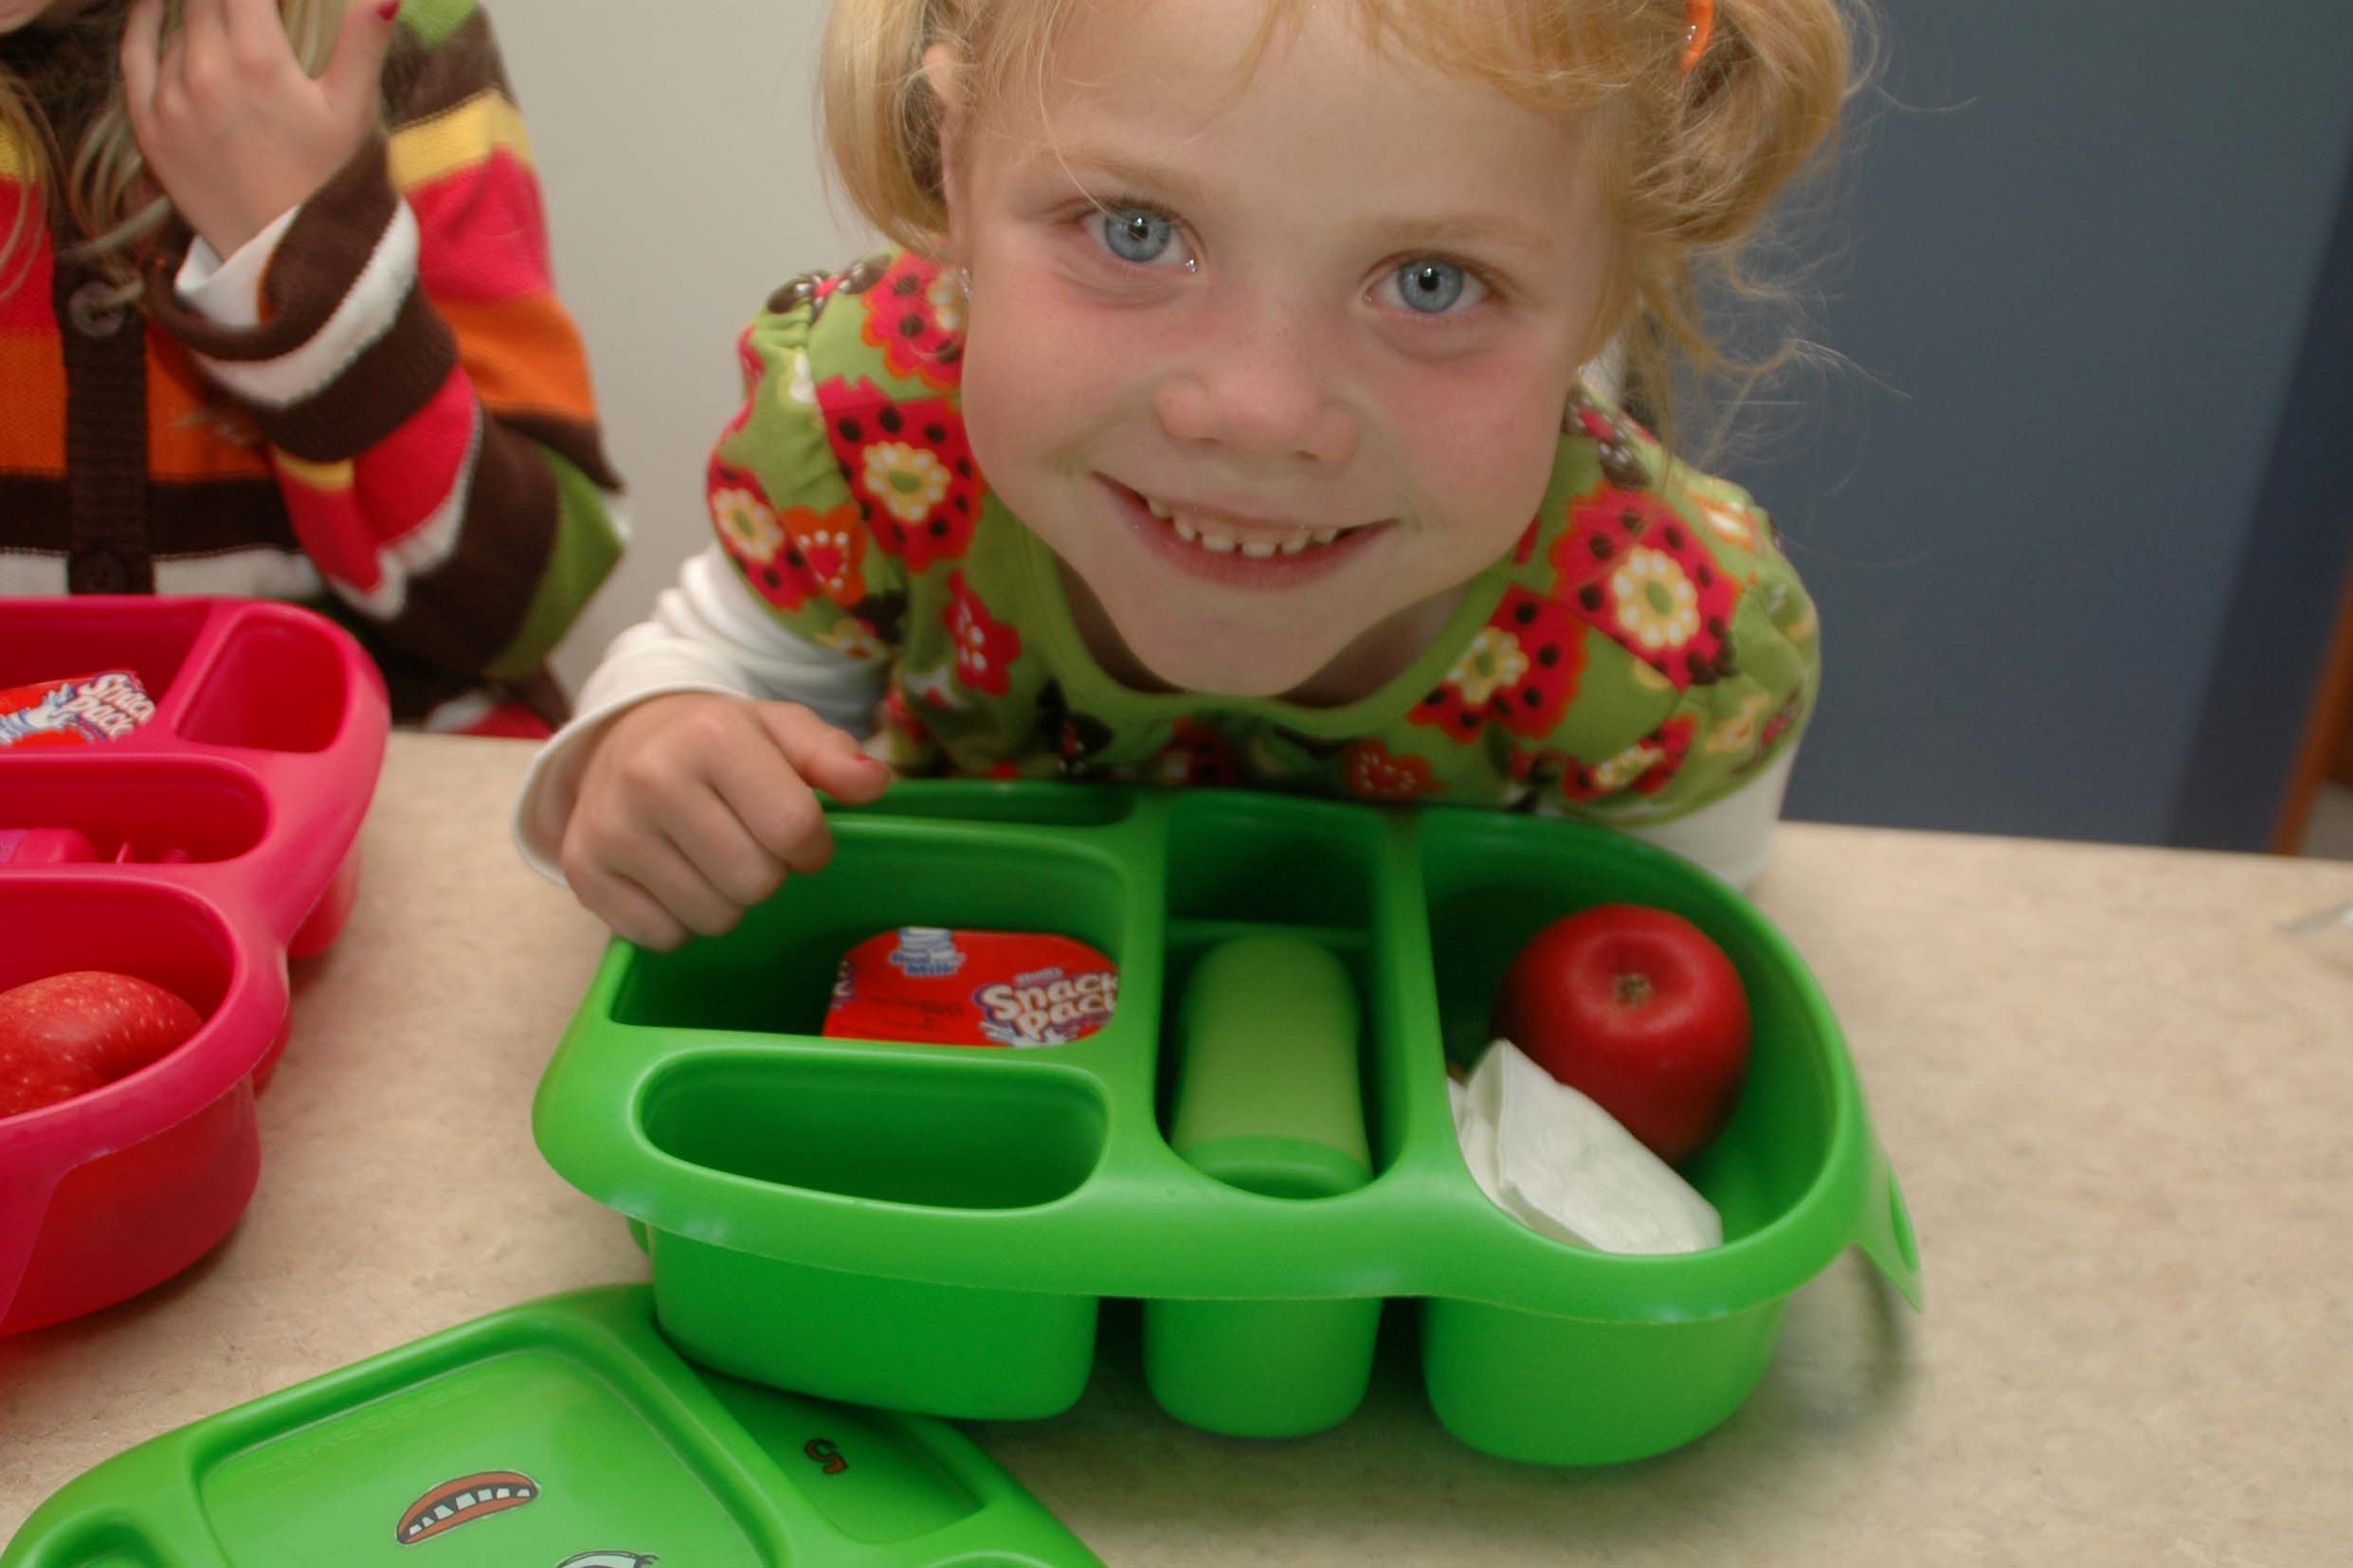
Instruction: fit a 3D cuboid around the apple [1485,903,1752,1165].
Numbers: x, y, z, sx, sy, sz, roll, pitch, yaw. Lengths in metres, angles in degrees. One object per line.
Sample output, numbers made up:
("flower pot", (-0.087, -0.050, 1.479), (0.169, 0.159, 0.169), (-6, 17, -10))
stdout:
("apple", (0.235, 0.149, 1.078), (0.152, 0.143, 0.156), (0, 2, 19))
